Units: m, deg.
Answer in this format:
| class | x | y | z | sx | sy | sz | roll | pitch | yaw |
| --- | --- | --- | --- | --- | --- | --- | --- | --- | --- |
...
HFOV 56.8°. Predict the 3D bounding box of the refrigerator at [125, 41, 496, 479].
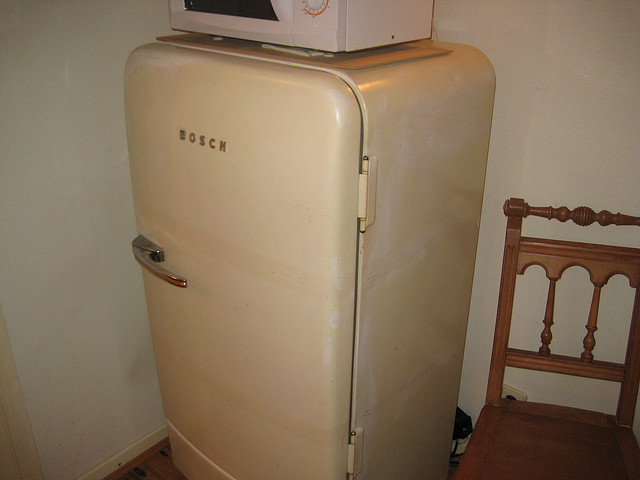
| class | x | y | z | sx | sy | sz | roll | pitch | yaw |
| --- | --- | --- | --- | --- | --- | --- | --- | --- | --- |
| refrigerator | -0.082 | 0.146 | 1.906 | 1.124 | 1.531 | 0.570 | 7 | 13 | 13 |
